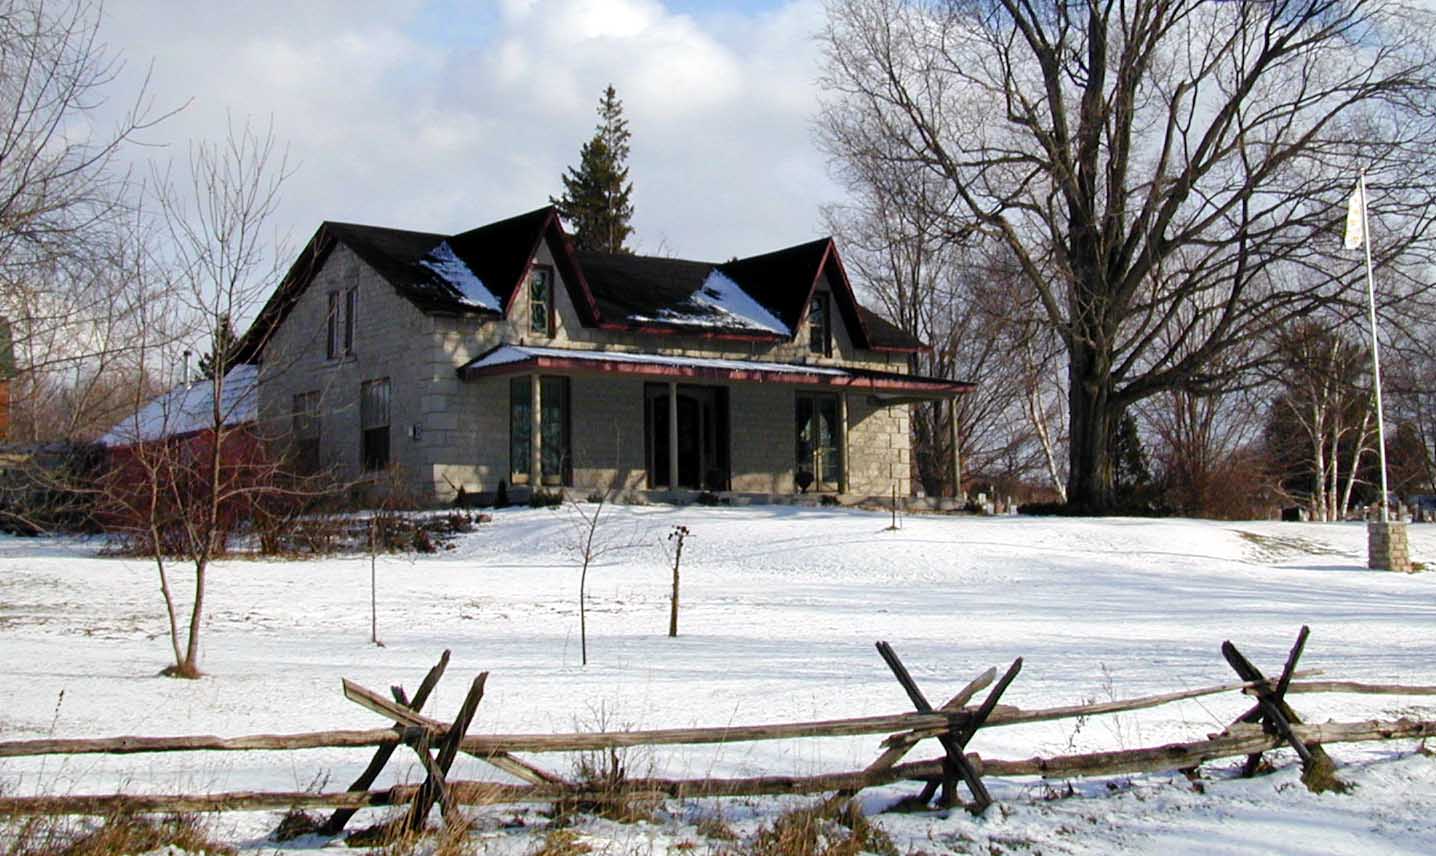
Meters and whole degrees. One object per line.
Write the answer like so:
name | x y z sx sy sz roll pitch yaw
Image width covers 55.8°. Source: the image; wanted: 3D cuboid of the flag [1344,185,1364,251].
flag | 15.799 -5.275 33.693 0.428 1.504 0.660 -4 -6 31
